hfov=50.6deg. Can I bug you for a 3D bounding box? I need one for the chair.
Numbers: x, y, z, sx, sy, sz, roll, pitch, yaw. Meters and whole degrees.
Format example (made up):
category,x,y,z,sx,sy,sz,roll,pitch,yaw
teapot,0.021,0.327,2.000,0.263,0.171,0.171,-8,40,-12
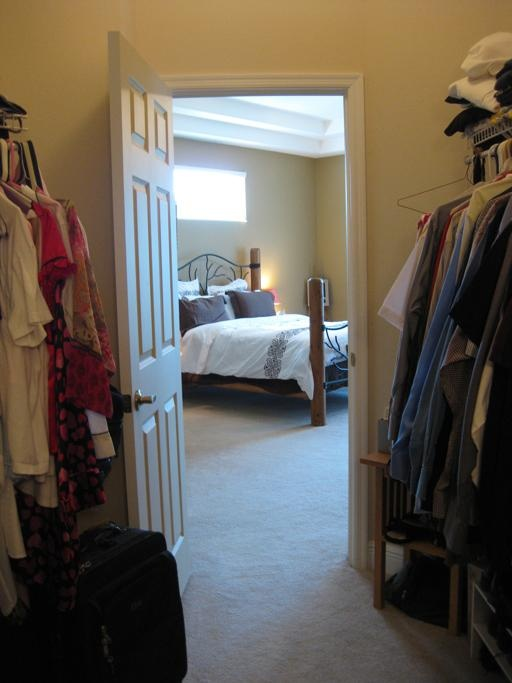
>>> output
category,x,y,z,sx,sy,sz,roll,pitch,yaw
chair,0.527,0.738,2.146,0.379,0.834,0.415,-3,-4,40
